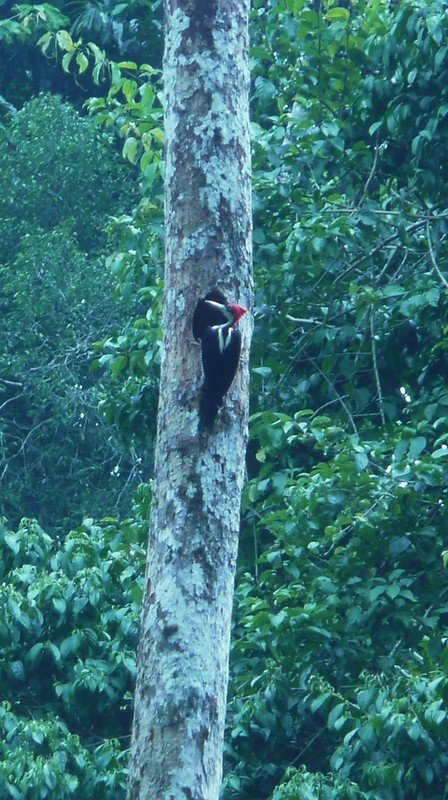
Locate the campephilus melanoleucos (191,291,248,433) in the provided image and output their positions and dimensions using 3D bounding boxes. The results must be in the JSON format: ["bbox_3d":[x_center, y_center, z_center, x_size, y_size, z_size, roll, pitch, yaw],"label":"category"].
[{"bbox_3d":[-0.016,-0.121,4.367,0.161,0.448,0.100,0,-8,-8],"label":"campephilus melanoleucos"}]
